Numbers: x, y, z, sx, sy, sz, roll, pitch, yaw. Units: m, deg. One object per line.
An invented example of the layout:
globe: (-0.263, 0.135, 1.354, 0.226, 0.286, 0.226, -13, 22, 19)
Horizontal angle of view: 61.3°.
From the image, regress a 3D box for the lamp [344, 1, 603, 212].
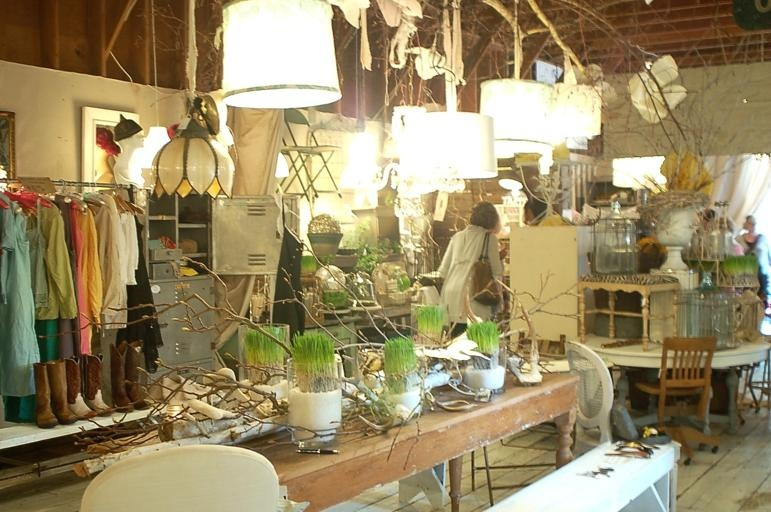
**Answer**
lamp: (0.843, -1.454, 5.149, 1.575, 1.731, 2.363, -1, 4, 21)

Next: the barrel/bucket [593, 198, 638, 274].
barrel/bucket: (2.192, -0.187, 6.123, 0.432, 0.680, 0.385, -6, 5, -41)

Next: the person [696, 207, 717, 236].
person: (3.101, -0.350, 6.310, 0.160, 0.222, 0.859, 0, 4, 25)

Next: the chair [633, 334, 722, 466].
chair: (2.724, 1.248, 5.990, 0.623, 1.177, 1.026, 0, 4, 27)

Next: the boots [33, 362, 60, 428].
boots: (-2.663, 1.095, 5.095, 0.130, 0.490, 0.180, -5, 5, -39)

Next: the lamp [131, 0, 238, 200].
lamp: (-1.281, -1.146, 4.267, 0.529, 1.529, 2.030, -3, 4, -13)

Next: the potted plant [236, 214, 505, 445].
potted plant: (0.223, 0.315, 6.043, 1.642, 1.146, 1.160, -7, -4, 15)

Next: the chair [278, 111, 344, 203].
chair: (-0.942, -1.253, 8.148, 0.749, 1.152, 1.766, -2, 4, -4)
